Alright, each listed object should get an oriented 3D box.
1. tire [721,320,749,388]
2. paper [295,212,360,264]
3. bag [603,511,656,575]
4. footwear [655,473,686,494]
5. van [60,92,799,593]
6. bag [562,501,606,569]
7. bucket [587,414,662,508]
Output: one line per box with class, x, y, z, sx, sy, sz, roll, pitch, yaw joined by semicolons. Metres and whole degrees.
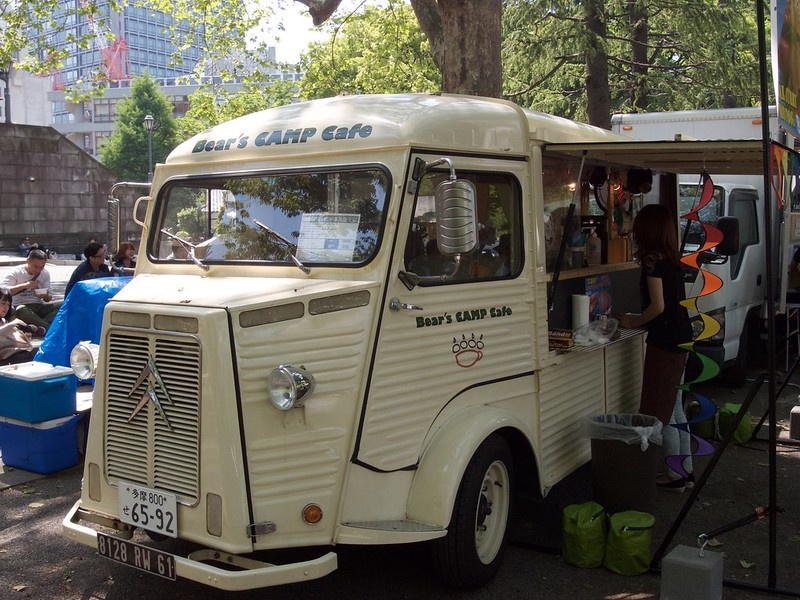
tire;4.519;0.713;9.916;0.267;0.920;0.869;-2;3;20
paper;-0.517;-0.460;5.270;0.446;0.361;0.023;-2;25;-26
bag;1.788;1.854;5.712;0.366;0.425;0.431;3;13;28
footwear;2.575;1.716;6.941;0.359;0.161;0.152;-5;-1;33
van;-0.075;0.220;5.578;4.712;3.549;1.978;-6;12;-29
bag;1.456;1.819;5.797;0.395;0.444;0.364;-5;10;-32
bucket;1.884;1.470;6.298;0.582;0.807;0.534;-7;8;1
